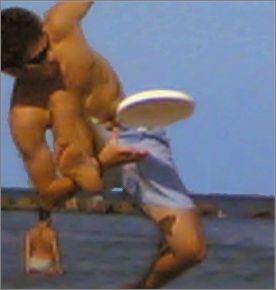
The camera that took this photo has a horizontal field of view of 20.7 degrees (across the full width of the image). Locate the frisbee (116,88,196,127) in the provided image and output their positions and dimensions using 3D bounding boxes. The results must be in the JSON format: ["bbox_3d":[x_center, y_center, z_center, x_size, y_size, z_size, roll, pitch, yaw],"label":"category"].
[{"bbox_3d":[0.098,-0.199,4.329,0.443,0.280,0.345,4,14,-2],"label":"frisbee"}]
